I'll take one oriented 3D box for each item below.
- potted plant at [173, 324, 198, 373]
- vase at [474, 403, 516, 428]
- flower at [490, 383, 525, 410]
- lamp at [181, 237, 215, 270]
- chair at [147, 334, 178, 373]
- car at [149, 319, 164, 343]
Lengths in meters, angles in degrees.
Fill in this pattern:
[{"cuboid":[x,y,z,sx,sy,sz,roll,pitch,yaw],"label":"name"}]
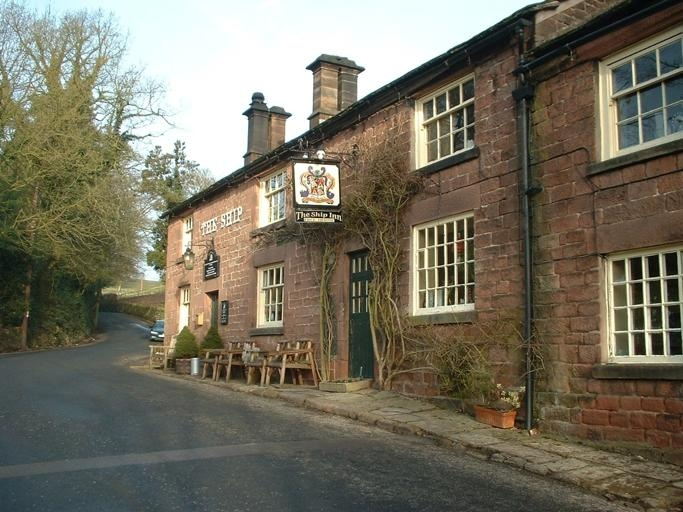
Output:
[{"cuboid":[-4.435,2.490,17.550,0.640,1.098,0.645,0,-2,38],"label":"potted plant"},{"cuboid":[2.345,2.443,9.482,0.634,0.340,0.382,-6,-14,22],"label":"vase"},{"cuboid":[2.553,2.183,9.540,0.379,0.282,0.399,2,1,-45],"label":"flower"},{"cuboid":[-4.481,-0.053,19.214,0.858,1.099,1.654,5,-14,-21],"label":"lamp"},{"cuboid":[-5.729,3.123,19.684,0.943,1.069,1.772,1,-10,-16],"label":"chair"},{"cuboid":[-9.352,3.760,31.214,0.840,0.701,1.876,1,-7,-16],"label":"car"}]
